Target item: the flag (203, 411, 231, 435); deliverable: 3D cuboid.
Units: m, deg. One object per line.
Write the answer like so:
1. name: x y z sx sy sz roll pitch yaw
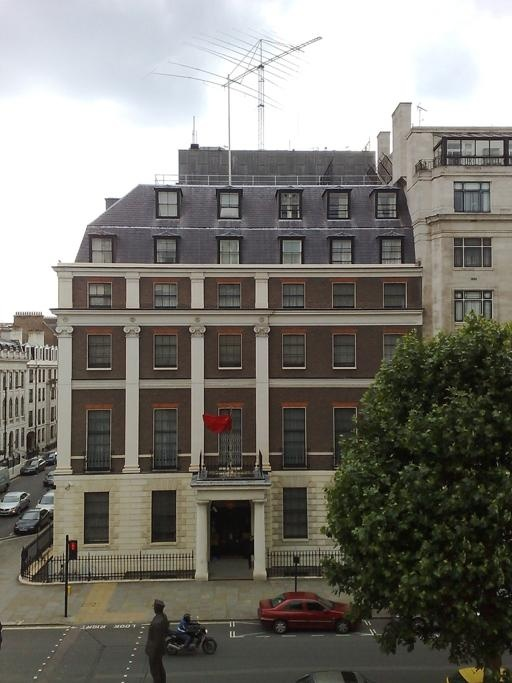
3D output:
1. flag: -1.720 3.741 52.467 1.282 0.902 2.064 0 -6 -2
